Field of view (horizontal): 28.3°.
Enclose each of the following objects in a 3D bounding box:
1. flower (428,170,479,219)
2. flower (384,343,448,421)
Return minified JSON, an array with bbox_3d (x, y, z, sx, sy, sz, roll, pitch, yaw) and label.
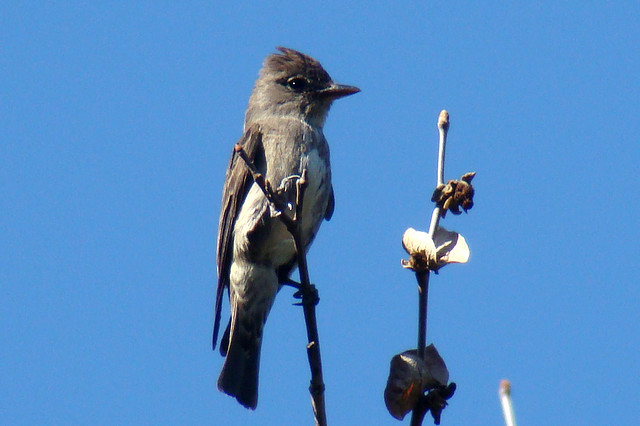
[{"bbox_3d":[0.907,-0.075,8.502,0.294,0.378,0.208,-15,-48,14],"label":"flower"},{"bbox_3d":[0.646,1.143,8.565,0.412,0.520,0.346,25,-51,-22],"label":"flower"}]
